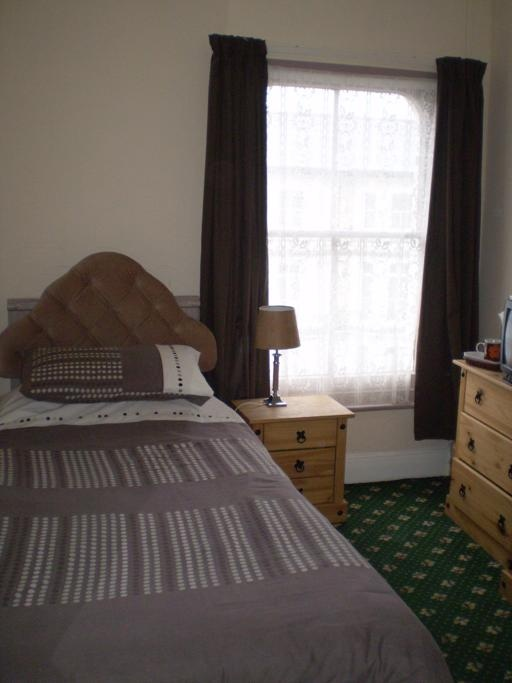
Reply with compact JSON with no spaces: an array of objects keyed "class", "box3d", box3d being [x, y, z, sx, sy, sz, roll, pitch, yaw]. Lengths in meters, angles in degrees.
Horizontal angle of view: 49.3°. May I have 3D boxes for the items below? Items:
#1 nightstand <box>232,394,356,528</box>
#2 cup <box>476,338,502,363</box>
[{"class":"nightstand","box3d":[0.245,0.585,3.155,0.653,0.858,0.580,-4,11,-18]},{"class":"cup","box3d":[1.174,0.038,2.843,0.156,0.144,0.103,2,5,33]}]
